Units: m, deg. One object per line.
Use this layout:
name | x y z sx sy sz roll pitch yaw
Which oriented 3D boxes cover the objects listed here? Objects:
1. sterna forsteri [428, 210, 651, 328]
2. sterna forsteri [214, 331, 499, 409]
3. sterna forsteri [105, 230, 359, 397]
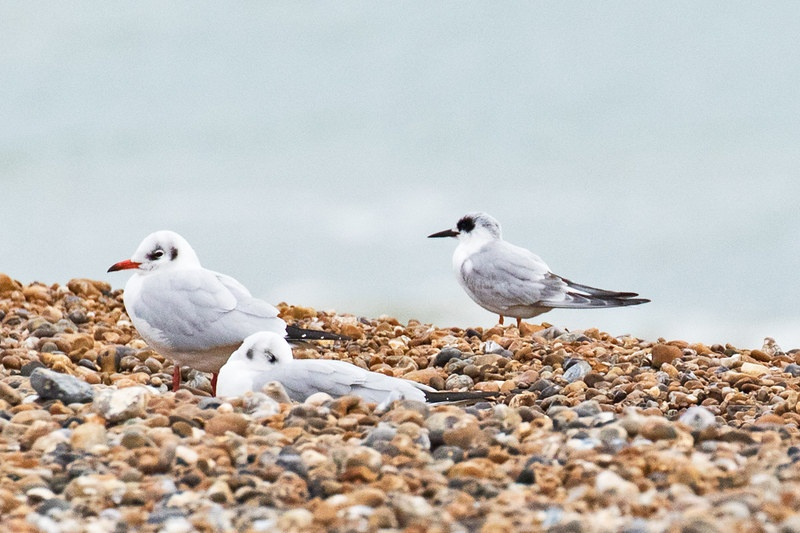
sterna forsteri | 1.555 0.148 14.806 2.728 1.344 0.805 4 11 24
sterna forsteri | -0.593 0.871 10.962 1.920 0.636 0.650 -2 -11 25
sterna forsteri | -1.652 0.507 12.454 2.527 1.387 0.867 5 -3 23
